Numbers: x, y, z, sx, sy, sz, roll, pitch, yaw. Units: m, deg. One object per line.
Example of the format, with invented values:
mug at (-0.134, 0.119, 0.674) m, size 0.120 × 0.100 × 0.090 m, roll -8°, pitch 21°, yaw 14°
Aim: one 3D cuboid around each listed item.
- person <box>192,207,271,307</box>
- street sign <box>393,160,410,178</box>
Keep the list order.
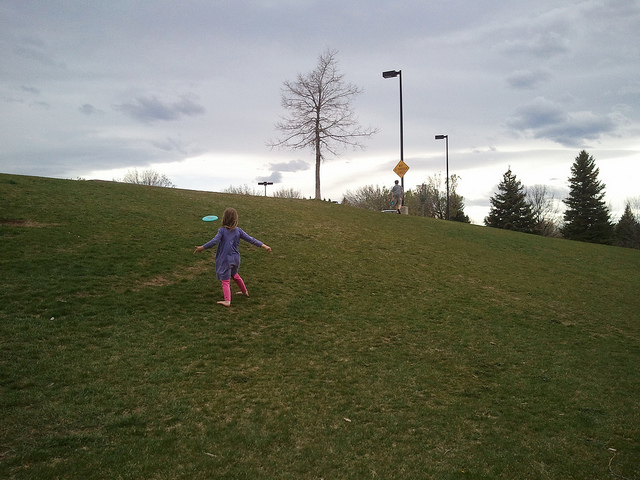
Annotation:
person at (-2.654, 0.529, 15.658) m, size 1.060 × 2.889 × 1.576 m, roll 2°, pitch 6°, yaw -3°
street sign at (4.963, -4.320, 32.945) m, size 0.406 × 0.996 × 1.035 m, roll 1°, pitch 6°, yaw -12°
